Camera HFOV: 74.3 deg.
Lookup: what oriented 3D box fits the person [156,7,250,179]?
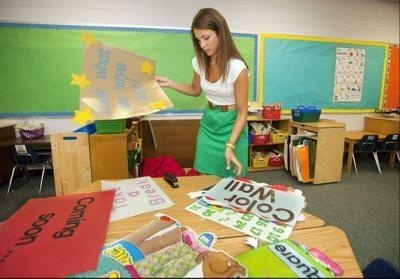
[{"bbox_3d":[0.119,-0.266,1.752,0.676,1.131,0.459,12,18,41],"label":"person"}]

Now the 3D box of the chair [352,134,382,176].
[{"bbox_3d":[2.436,0.177,3.952,0.356,0.521,0.396,-1,6,-5],"label":"chair"}]

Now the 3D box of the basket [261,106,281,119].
[{"bbox_3d":[1.070,-0.406,3.981,0.253,0.183,0.182,1,10,5],"label":"basket"}]

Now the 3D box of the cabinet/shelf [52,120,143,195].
[{"bbox_3d":[-0.889,0.137,2.314,0.445,0.549,0.822,-1,8,-4],"label":"cabinet/shelf"}]

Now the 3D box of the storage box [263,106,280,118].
[{"bbox_3d":[1.090,-0.412,3.976,0.207,0.153,0.212,1,8,11],"label":"storage box"}]

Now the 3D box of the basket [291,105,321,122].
[{"bbox_3d":[1.478,-0.339,3.754,0.300,0.181,0.295,-2,2,-27],"label":"basket"}]

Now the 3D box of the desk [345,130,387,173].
[{"bbox_3d":[2.494,0.208,3.923,0.464,0.422,0.378,2,-3,38],"label":"desk"}]

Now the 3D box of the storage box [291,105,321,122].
[{"bbox_3d":[1.488,-0.337,3.743,0.306,0.187,0.303,-1,2,-25],"label":"storage box"}]

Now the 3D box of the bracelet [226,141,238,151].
[{"bbox_3d":[0.188,0.041,1.590,0.051,0.038,0.073,0,14,-1],"label":"bracelet"}]

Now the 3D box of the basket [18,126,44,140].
[{"bbox_3d":[-2.208,-0.082,3.492,0.280,0.155,0.189,-8,16,-30],"label":"basket"}]

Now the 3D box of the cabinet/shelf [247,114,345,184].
[{"bbox_3d":[1.377,0.135,3.747,0.698,0.831,1.085,-11,17,-37],"label":"cabinet/shelf"}]
